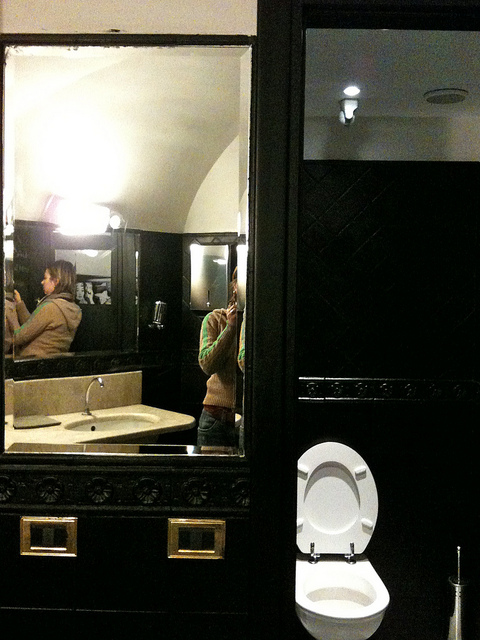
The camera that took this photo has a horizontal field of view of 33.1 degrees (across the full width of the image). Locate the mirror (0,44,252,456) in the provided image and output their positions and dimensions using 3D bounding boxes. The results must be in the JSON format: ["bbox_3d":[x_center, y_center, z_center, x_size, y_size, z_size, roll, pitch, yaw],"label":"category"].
[{"bbox_3d":[-0.284,-0.193,1.943,0.655,1.387,0.020,1,1,-7],"label":"mirror"}]

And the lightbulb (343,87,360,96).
[{"bbox_3d":[0.359,-0.738,2.620,0.046,0.020,0.031,3,4,12],"label":"lightbulb"}]

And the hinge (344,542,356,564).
[{"bbox_3d":[0.343,0.721,2.530,0.034,0.062,0.029,2,4,10],"label":"hinge"}]

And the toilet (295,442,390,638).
[{"bbox_3d":[0.300,0.686,2.415,0.273,0.593,0.353,1,4,6],"label":"toilet"}]
